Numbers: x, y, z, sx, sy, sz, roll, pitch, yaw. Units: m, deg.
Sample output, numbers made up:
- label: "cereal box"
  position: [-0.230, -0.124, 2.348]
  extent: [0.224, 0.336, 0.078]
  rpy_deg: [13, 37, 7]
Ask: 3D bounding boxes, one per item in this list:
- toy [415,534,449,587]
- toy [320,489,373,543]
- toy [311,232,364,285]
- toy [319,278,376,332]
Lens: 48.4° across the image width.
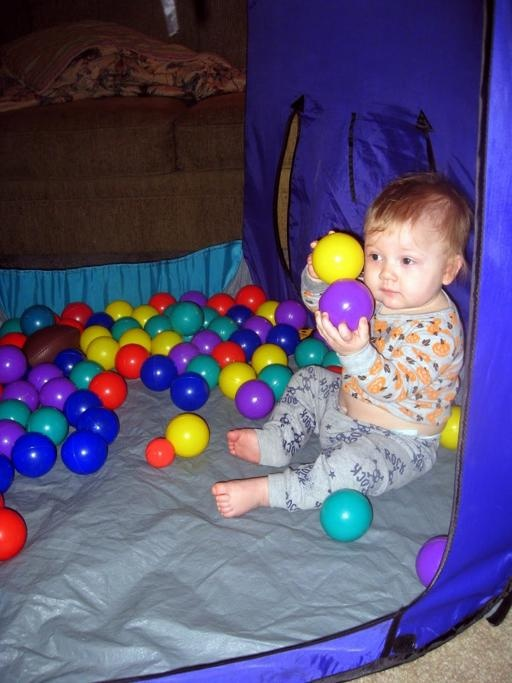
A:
- label: "toy"
  position: [0.368, 0.457, 1.207]
  extent: [0.051, 0.102, 0.115]
  rpy_deg: [10, 29, 19]
- label: "toy"
  position: [0.206, 0.396, 1.352]
  extent: [0.120, 0.112, 0.138]
  rpy_deg: [-19, -10, 23]
- label: "toy"
  position: [0.209, -0.218, 1.463]
  extent: [0.140, 0.158, 0.139]
  rpy_deg: [2, 3, 12]
- label: "toy"
  position: [0.209, -0.073, 1.359]
  extent: [0.120, 0.123, 0.142]
  rpy_deg: [30, -1, 12]
